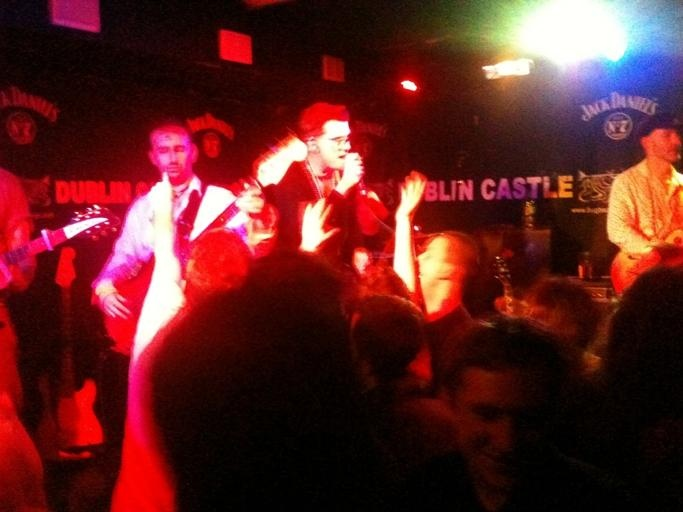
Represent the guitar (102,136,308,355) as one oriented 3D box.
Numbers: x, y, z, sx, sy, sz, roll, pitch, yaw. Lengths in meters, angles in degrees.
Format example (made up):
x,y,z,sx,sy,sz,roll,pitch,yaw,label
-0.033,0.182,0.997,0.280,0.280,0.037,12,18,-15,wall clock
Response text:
x,y,z,sx,sy,sz,roll,pitch,yaw,label
-1.122,-0.201,4.230,0.263,0.835,1.756,3,45,46,guitar
